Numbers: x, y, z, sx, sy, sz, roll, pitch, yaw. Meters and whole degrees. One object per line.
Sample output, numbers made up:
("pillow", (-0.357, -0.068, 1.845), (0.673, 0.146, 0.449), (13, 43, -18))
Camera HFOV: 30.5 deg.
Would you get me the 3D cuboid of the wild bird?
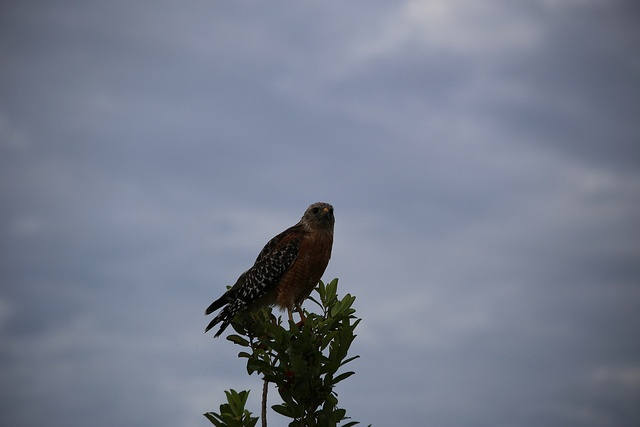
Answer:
("wild bird", (-0.261, 0.313, 6.618), (0.760, 0.686, 0.361), (-9, -7, 13))
